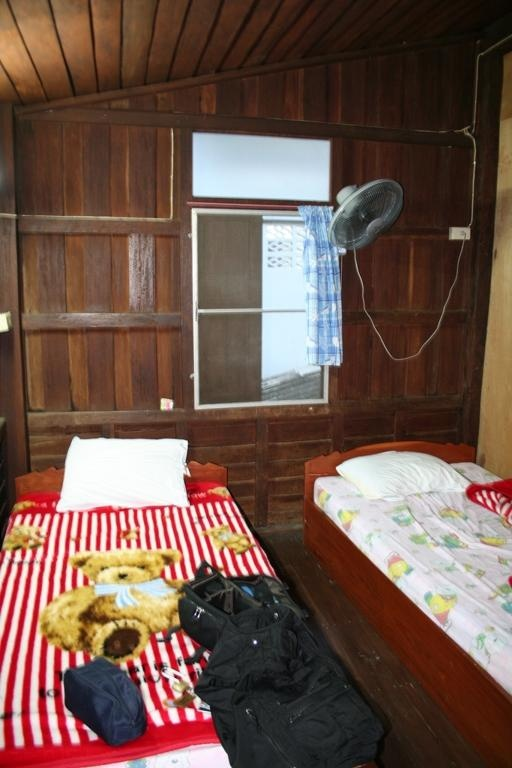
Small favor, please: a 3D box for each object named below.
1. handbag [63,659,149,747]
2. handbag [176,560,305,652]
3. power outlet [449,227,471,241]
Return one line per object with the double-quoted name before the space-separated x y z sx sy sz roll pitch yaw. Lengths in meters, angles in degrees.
"handbag" -0.399 0.810 1.454 0.126 0.078 0.214 1 10 -45
"handbag" -0.119 0.769 1.934 0.220 0.144 0.314 -3 10 -30
"power outlet" 1.349 -0.998 3.700 0.143 0.088 0.102 -2 5 -8
